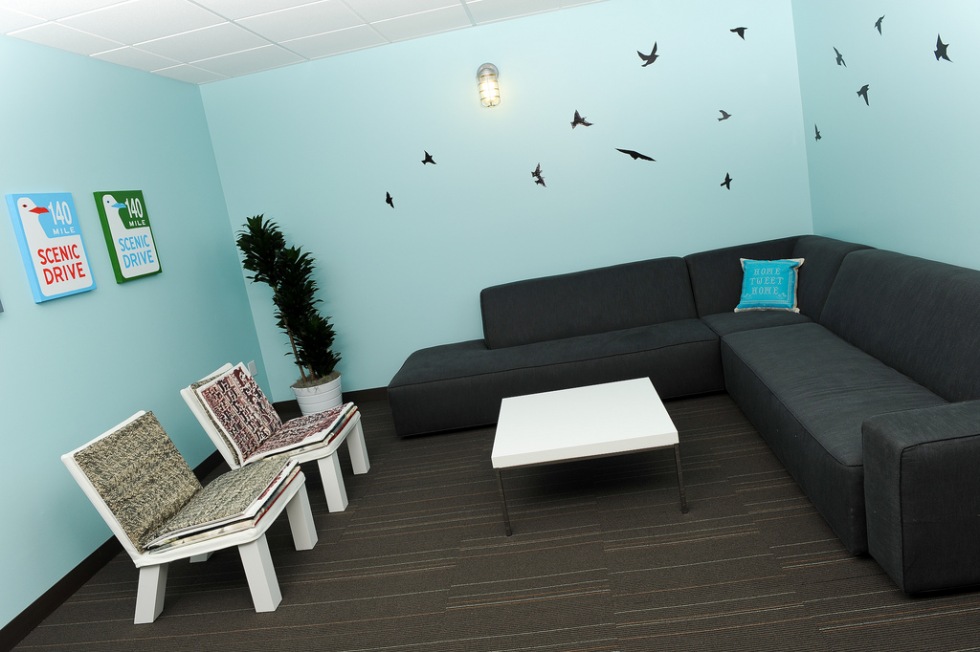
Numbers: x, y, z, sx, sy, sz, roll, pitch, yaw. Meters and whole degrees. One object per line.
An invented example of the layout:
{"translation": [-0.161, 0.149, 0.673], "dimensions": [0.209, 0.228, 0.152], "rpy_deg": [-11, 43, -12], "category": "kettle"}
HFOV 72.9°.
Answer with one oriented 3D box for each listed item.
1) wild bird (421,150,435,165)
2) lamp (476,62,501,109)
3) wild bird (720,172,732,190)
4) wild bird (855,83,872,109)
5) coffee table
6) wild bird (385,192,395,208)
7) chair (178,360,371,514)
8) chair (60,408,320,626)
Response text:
{"translation": [-0.570, -1.534, 6.023], "dimensions": [0.123, 0.133, 0.032], "rpy_deg": [-10, 19, -4], "category": "wild bird"}
{"translation": [-0.013, -2.107, 5.795], "dimensions": [0.211, 0.379, 0.197], "rpy_deg": [-9, 18, 2], "category": "lamp"}
{"translation": [2.092, -1.283, 5.882], "dimensions": [0.109, 0.152, 0.035], "rpy_deg": [-5, 20, 13], "category": "wild bird"}
{"translation": [2.750, -1.700, 4.872], "dimensions": [0.165, 0.051, 0.199], "rpy_deg": [-2, 52, 30], "category": "wild bird"}
{"translation": [0.581, 0.740, 4.321], "dimensions": [1.101, 0.437, 1.032], "rpy_deg": [-11, 12, -2], "category": "coffee table"}
{"translation": [-0.933, -1.167, 6.115], "dimensions": [0.077, 0.144, 0.033], "rpy_deg": [-11, 19, -3], "category": "wild bird"}
{"translation": [-1.479, 0.767, 4.785], "dimensions": [1.046, 0.756, 0.764], "rpy_deg": [1, 14, 2], "category": "chair"}
{"translation": [-1.767, 1.110, 3.997], "dimensions": [1.093, 1.059, 0.751], "rpy_deg": [-5, 19, 12], "category": "chair"}
